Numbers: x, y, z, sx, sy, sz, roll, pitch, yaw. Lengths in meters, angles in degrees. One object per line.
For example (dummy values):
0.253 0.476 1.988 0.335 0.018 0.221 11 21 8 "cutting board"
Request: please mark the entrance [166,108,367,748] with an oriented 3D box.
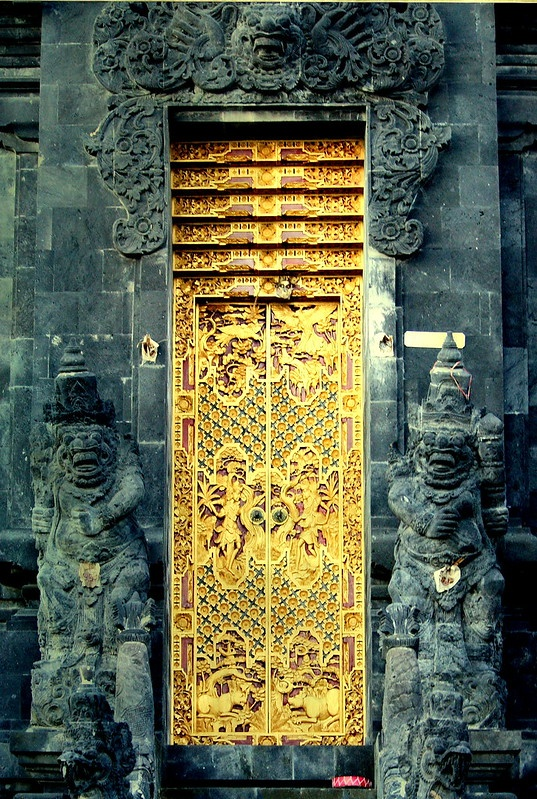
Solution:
-0.014 0.425 20.897 1.499 0.332 6.007 -1 -57 -1 "entrance"
